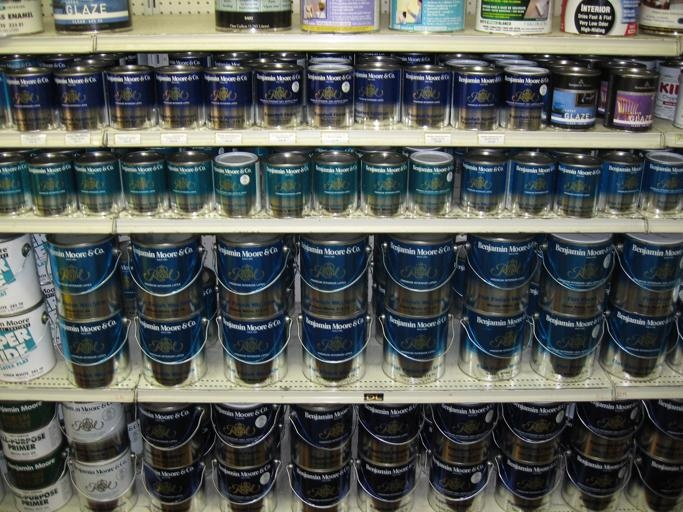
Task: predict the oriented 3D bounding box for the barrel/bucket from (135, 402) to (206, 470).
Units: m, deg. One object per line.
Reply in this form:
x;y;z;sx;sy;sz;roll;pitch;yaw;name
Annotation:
-0.803;0.845;3.321;0.315;0.318;0.325;2;12;0;barrel/bucket

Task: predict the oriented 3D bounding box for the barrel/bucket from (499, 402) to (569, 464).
0.952;0.842;3.392;0.303;0.320;0.309;1;6;0;barrel/bucket

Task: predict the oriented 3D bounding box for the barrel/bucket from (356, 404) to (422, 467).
0.196;0.849;3.371;0.303;0.303;0.309;2;16;-1;barrel/bucket

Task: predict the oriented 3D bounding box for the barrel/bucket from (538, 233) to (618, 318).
1.060;0.063;3.178;0.352;0.378;0.370;0;9;0;barrel/bucket

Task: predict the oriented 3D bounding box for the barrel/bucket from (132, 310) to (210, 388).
-0.780;0.439;3.254;0.351;0.351;0.341;1;26;-1;barrel/bucket

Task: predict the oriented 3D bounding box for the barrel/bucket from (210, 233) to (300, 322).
-0.401;0.076;3.195;0.378;0.378;0.362;0;20;0;barrel/bucket

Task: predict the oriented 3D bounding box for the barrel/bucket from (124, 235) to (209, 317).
-0.763;0.092;3.101;0.345;0.373;0.381;3;26;1;barrel/bucket

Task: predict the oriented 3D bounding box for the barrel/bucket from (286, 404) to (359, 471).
-0.098;0.862;3.240;0.311;0.326;0.325;1;12;0;barrel/bucket

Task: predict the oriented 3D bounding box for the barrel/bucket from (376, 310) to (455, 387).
0.358;0.419;3.319;0.361;0.340;0.327;-16;28;-31;barrel/bucket

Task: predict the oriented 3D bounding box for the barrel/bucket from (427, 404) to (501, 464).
0.594;0.846;3.347;0.309;0.288;0.306;0;10;0;barrel/bucket
